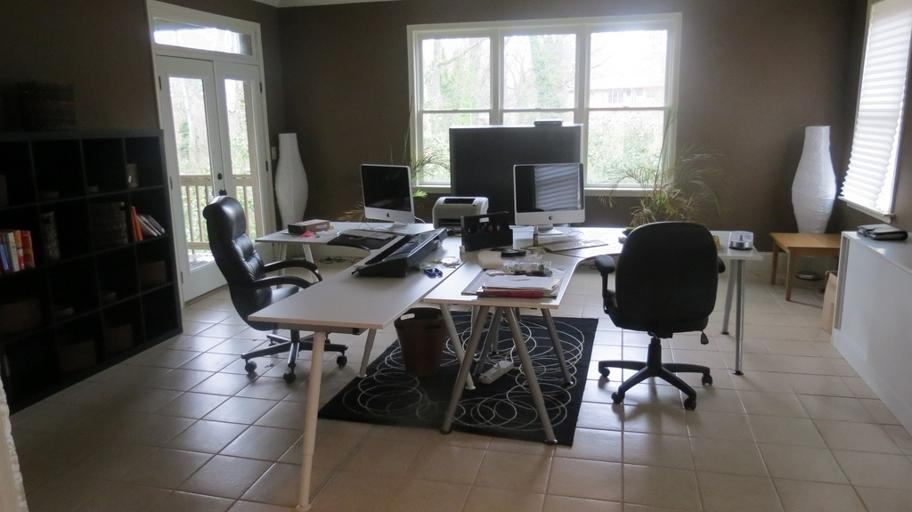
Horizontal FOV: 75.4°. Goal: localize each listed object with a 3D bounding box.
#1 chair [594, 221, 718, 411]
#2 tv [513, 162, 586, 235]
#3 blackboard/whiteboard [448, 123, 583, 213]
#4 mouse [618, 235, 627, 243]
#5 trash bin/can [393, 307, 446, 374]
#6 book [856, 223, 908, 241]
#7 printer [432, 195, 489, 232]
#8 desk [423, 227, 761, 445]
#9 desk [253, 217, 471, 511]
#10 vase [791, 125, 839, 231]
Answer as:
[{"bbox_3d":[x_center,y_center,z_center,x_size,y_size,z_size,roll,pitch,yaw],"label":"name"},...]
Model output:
[{"bbox_3d":[1.905,0.516,5.579,1.213,1.479,1.056,1,5,8],"label":"chair"},{"bbox_3d":[0.966,-0.594,6.127,0.912,0.661,0.272,-3,6,-15],"label":"tv"},{"bbox_3d":[0.716,-1.027,6.810,1.481,0.840,0.135,0,5,5],"label":"blackboard/whiteboard"},{"bbox_3d":[1.683,-0.168,5.933,0.109,0.048,0.140,0,18,10],"label":"mouse"},{"bbox_3d":[-0.241,0.846,5.959,0.684,0.597,0.603,-1,-1,2],"label":"trash bin/can"},{"bbox_3d":[4.121,-0.224,5.673,0.420,0.108,0.250,-3,15,-1],"label":"book"},{"bbox_3d":[0.034,-0.515,6.554,0.625,0.367,0.430,1,9,9],"label":"printer"},{"bbox_3d":[1.286,0.256,5.455,3.161,1.679,1.854,1,17,11],"label":"desk"},{"bbox_3d":[-0.806,1.030,5.236,0.952,1.068,2.382,4,13,14],"label":"desk"},{"bbox_3d":[4.556,-0.970,7.508,0.369,1.338,0.390,-15,21,-32],"label":"vase"}]
